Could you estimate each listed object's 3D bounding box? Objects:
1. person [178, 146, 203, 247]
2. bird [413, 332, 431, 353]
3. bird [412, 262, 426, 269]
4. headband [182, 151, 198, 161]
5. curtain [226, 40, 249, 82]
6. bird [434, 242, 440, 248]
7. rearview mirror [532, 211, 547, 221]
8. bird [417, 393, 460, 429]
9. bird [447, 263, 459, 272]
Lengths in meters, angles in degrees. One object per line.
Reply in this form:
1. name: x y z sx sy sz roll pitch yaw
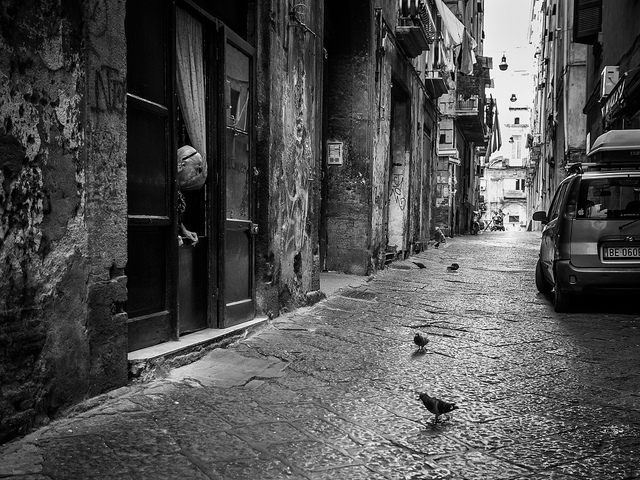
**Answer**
1. person: -1.130 -0.371 5.256 0.204 0.885 0.422 -1 5 -12
2. bird: 0.898 0.915 5.366 0.125 0.165 0.096 -2 6 -21
3. bird: 1.937 0.502 11.623 0.078 0.053 0.212 -27 15 -15
4. headband: -1.120 -0.723 5.211 0.036 0.081 0.164 4 6 32
5. curtain: -0.821 -1.767 5.923 0.021 0.286 0.474 5 4 17
6. bird: 3.558 0.159 18.437 0.042 0.159 0.162 10 12 40
7. rearview mirror: 3.111 -0.334 8.536 0.182 0.153 0.461 3 6 25
8. bird: 0.739 1.055 3.836 0.229 0.189 0.369 1 6 10
9. bird: 2.461 0.516 11.225 0.185 0.144 0.118 2 1 9
